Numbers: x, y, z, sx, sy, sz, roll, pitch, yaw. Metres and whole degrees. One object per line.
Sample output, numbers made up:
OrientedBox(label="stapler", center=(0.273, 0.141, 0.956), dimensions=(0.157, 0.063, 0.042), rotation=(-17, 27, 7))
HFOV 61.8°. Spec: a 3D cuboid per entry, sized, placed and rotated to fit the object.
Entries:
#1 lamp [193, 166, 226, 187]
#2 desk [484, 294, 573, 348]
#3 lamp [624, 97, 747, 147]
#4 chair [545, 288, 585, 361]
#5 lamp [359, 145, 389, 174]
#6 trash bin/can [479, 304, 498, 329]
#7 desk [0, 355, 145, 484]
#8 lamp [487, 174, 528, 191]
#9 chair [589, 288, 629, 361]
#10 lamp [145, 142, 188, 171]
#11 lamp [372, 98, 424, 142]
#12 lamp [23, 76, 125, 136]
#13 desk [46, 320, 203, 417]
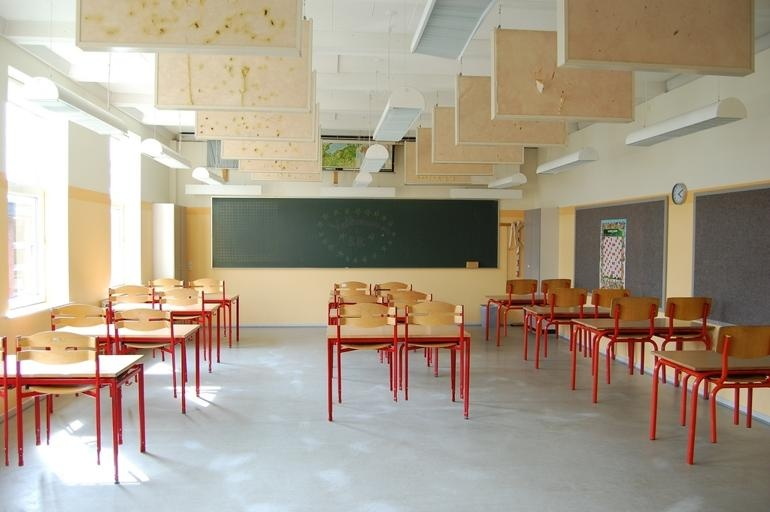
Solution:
OrientedBox(label="lamp", center=(-3.011, -1.374, 10.905), dimensions=(0.494, 0.153, 0.662), rotation=(0, 1, -5))
OrientedBox(label="desk", center=(2.238, 1.088, 10.685), dimensions=(1.079, 0.668, 0.761), rotation=(3, 2, -14))
OrientedBox(label="lamp", center=(3.401, -1.483, 7.471), dimensions=(0.479, 0.229, 1.418), rotation=(-1, -6, -20))
OrientedBox(label="chair", center=(2.635, 0.792, 9.466), dimensions=(0.596, 0.926, 0.659), rotation=(0, 4, 3))
OrientedBox(label="lamp", center=(-0.176, -1.472, 9.621), dimensions=(0.333, 0.402, 0.786), rotation=(-1, 12, -4))
OrientedBox(label="trash bin/can", center=(2.018, 1.189, 12.497), dimensions=(0.428, 0.457, 0.417), rotation=(1, -2, 0))
OrientedBox(label="desk", center=(-3.339, 1.528, 6.730), dimensions=(1.119, 1.380, 0.963), rotation=(2, 3, -14))
OrientedBox(label="lamp", center=(2.108, -1.283, 11.099), dimensions=(0.402, 0.141, 0.590), rotation=(-4, -4, -33))
OrientedBox(label="chair", center=(3.099, 0.745, 9.067), dimensions=(0.538, 0.676, 0.463), rotation=(2, 6, 17))
OrientedBox(label="lamp", center=(-3.249, -1.496, 9.363), dimensions=(0.441, 0.420, 0.989), rotation=(-2, 12, -7))
OrientedBox(label="lamp", center=(0.148, -1.716, 8.118), dimensions=(0.551, 0.465, 1.317), rotation=(0, 12, -2))
OrientedBox(label="lamp", center=(-3.567, -1.701, 7.339), dimensions=(0.465, 0.585, 1.082), rotation=(2, 12, 8))
OrientedBox(label="desk", center=(-3.030, 1.344, 7.833), dimensions=(0.968, 0.827, 1.789), rotation=(6, -18, -23))
